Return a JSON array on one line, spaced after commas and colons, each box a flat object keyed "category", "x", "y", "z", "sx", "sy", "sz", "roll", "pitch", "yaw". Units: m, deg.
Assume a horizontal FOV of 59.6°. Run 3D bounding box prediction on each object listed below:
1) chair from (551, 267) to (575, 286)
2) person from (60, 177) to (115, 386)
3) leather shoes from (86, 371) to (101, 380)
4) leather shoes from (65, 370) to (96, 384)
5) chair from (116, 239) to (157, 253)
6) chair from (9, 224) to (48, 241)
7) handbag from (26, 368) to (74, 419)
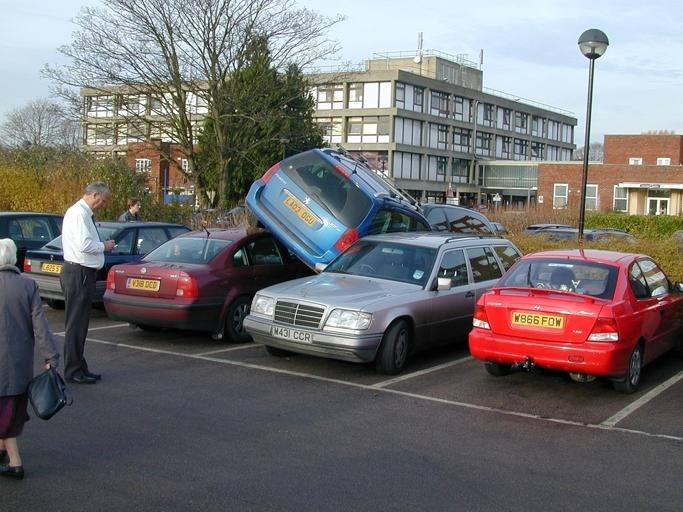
[{"category": "chair", "x": 2.892, "y": 0.245, "z": 7.836, "sx": 0.307, "sy": 0.228, "sz": 0.197, "roll": 5, "pitch": 6, "yaw": 35}, {"category": "person", "x": -3.192, "y": 0.303, "z": 7.439, "sx": 0.549, "sy": 2.517, "sz": 0.402, "roll": -1, "pitch": 6, "yaw": -27}, {"category": "leather shoes", "x": -3.134, "y": 1.503, "z": 7.558, "sx": 0.195, "sy": 0.082, "sz": 0.078, "roll": 3, "pitch": 14, "yaw": -1}, {"category": "leather shoes", "x": -3.219, "y": 1.502, "z": 7.408, "sx": 0.381, "sy": 0.156, "sz": 0.141, "roll": -1, "pitch": 12, "yaw": -20}, {"category": "chair", "x": -4.121, "y": -0.228, "z": 11.995, "sx": 0.216, "sy": 0.312, "sz": 1.039, "roll": 5, "pitch": 6, "yaw": 38}, {"category": "chair", "x": -6.970, "y": -0.604, "z": 13.401, "sx": 0.302, "sy": 0.272, "sz": 0.532, "roll": 9, "pitch": 11, "yaw": 31}, {"category": "handbag", "x": -2.362, "y": 1.098, "z": 4.801, "sx": 0.264, "sy": 0.366, "sz": 0.212, "roll": -2, "pitch": 6, "yaw": -33}]
